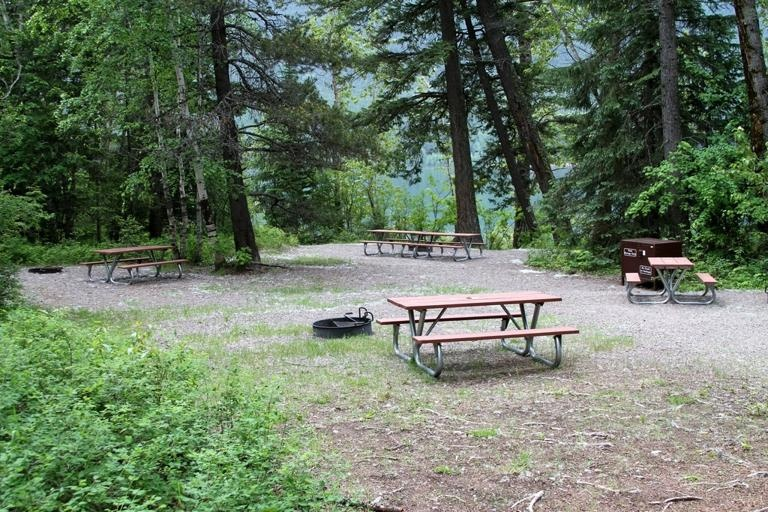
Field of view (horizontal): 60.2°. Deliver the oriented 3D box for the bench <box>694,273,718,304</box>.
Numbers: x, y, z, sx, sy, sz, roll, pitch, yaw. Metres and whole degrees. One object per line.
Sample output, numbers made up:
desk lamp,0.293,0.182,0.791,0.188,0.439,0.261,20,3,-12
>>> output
bench,6.820,0.648,13.846,0.328,0.604,1.868,-3,1,26
